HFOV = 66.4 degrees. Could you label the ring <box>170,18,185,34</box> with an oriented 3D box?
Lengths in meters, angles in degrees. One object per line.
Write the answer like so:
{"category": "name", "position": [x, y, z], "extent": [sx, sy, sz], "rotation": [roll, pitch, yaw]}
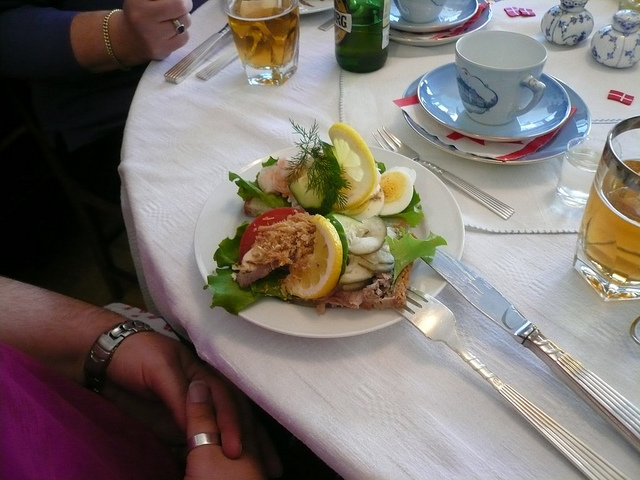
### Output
{"category": "ring", "position": [-0.435, -0.655, 1.492], "extent": [0.029, 0.044, 0.050], "rotation": [-18, 88, -8]}

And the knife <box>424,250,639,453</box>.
{"category": "knife", "position": [0.377, 0.210, 0.871], "extent": [0.050, 0.024, 0.467], "rotation": [-38, 48, 5]}

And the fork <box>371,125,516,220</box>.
{"category": "fork", "position": [0.293, -0.149, 1.116], "extent": [0.303, 0.035, 0.037], "rotation": [44, 75, 8]}

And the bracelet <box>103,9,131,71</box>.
{"category": "bracelet", "position": [-0.680, -0.661, 1.631], "extent": [0.061, 0.185, 0.080], "rotation": [-20, 38, -27]}

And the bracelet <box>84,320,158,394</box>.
{"category": "bracelet", "position": [-0.525, 0.245, 1.249], "extent": [0.142, 0.124, 0.154], "rotation": [-34, 11, 9]}

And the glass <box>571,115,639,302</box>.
{"category": "glass", "position": [0.528, -0.044, 0.934], "extent": [0.088, 0.345, 0.132], "rotation": [9, 32, 15]}
